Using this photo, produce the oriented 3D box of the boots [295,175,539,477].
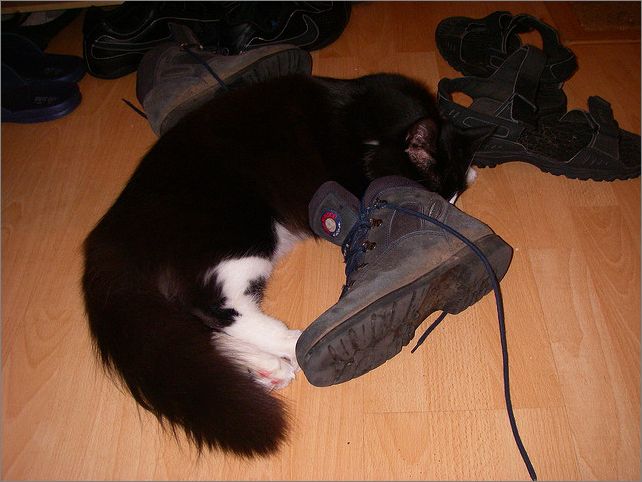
[{"bbox_3d":[0.248,0.128,1.789,0.927,0.534,0.431,-37,45,-20],"label":"boots"}]
